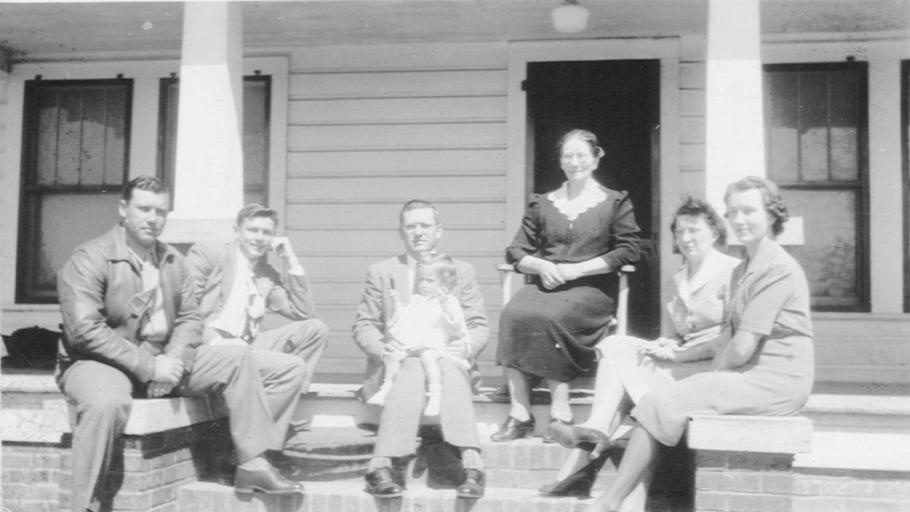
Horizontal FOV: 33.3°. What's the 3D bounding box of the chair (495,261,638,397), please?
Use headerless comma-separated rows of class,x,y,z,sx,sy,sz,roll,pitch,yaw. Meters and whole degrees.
chair,0.819,0.524,11.256,1.020,0.944,1.112,1,-1,-3

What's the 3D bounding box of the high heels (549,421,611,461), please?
high heels,0.857,1.253,10.432,0.544,0.148,0.161,7,-14,6

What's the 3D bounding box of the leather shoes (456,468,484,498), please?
leather shoes,0.100,1.554,10.399,0.175,0.206,0.082,0,3,8

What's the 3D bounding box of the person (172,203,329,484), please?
person,-1.410,0.502,11.088,1.164,1.644,1.039,1,-2,-12

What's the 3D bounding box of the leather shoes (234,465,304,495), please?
leather shoes,-1.320,1.559,10.537,0.513,0.142,0.174,1,-6,-1

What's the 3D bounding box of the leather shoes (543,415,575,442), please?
leather shoes,0.707,1.214,10.590,0.113,0.130,0.292,5,20,13

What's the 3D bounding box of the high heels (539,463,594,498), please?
high heels,0.810,1.563,10.520,0.534,0.165,0.145,-9,-2,-2
